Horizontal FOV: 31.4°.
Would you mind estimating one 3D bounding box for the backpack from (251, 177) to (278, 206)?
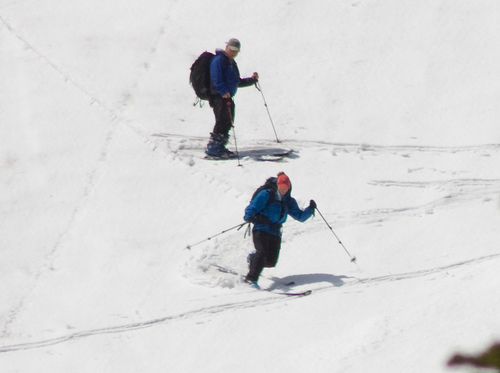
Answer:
[{"bbox_3d":[0.428,0.090,21.369,0.642,0.438,0.575,21,74,12],"label":"backpack"}]

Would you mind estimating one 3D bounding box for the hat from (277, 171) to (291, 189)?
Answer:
[{"bbox_3d":[0.800,-0.154,21.081,0.277,0.280,0.359,-4,52,-19],"label":"hat"}]

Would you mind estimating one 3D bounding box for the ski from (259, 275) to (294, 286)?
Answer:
[{"bbox_3d":[0.641,2.240,21.206,0.809,0.110,0.213,6,49,31],"label":"ski"}]

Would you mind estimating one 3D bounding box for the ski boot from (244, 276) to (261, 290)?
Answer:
[{"bbox_3d":[0.023,2.249,20.985,0.444,0.147,0.175,29,81,1],"label":"ski boot"}]
